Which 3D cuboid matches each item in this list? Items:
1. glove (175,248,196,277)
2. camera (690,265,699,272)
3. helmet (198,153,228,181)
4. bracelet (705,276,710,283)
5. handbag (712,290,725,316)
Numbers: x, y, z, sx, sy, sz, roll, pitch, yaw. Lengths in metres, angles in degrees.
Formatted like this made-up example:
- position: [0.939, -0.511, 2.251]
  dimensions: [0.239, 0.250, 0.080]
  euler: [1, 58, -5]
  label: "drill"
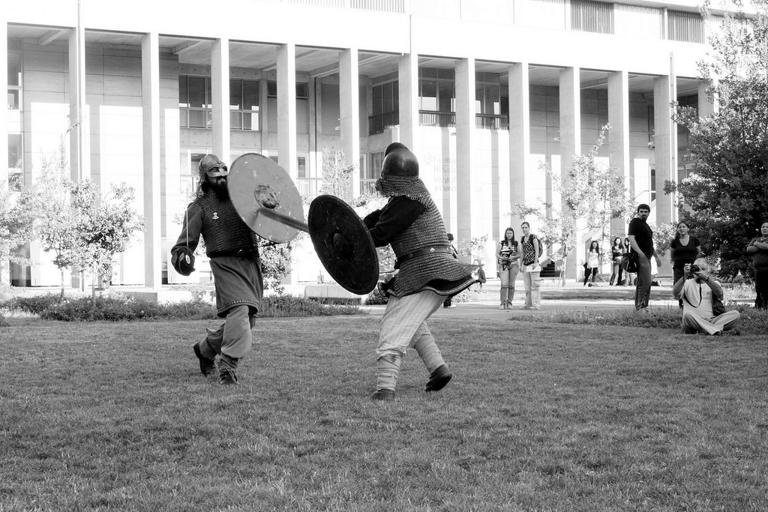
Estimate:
- position: [-3.965, 0.149, 22.000]
  dimensions: [0.396, 0.579, 0.203]
  euler: [-13, 11, -3]
  label: "glove"
- position: [7.548, 0.270, 26.595]
  dimensions: [0.212, 0.177, 0.108]
  euler: [0, 2, 40]
  label: "camera"
- position: [-3.489, -1.812, 22.574]
  dimensions: [0.547, 0.550, 0.457]
  euler: [-10, -4, 30]
  label: "helmet"
- position: [7.802, 0.537, 26.509]
  dimensions: [0.111, 0.145, 0.123]
  euler: [-1, 1, 9]
  label: "bracelet"
- position: [8.159, 1.156, 26.858]
  dimensions: [0.144, 0.486, 0.322]
  euler: [-4, -14, 41]
  label: "handbag"
